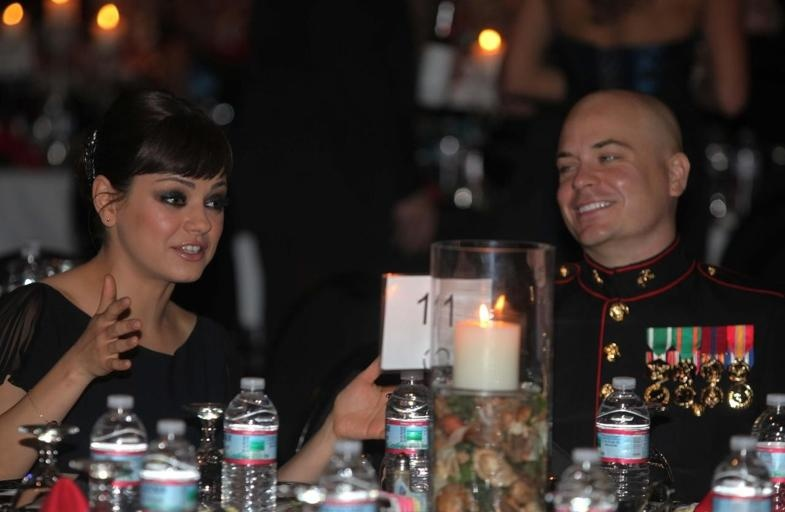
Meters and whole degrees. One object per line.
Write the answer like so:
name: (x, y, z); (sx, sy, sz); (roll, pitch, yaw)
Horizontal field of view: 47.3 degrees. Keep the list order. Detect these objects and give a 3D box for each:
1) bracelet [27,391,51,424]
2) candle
bracelet: (-1.372, 0.598, 3.479); (0.119, 0.109, 0.035); (2, -8, -2)
candle: (0.302, 0.319, 3.049); (0.287, 0.298, 0.294); (-9, -10, 34)
